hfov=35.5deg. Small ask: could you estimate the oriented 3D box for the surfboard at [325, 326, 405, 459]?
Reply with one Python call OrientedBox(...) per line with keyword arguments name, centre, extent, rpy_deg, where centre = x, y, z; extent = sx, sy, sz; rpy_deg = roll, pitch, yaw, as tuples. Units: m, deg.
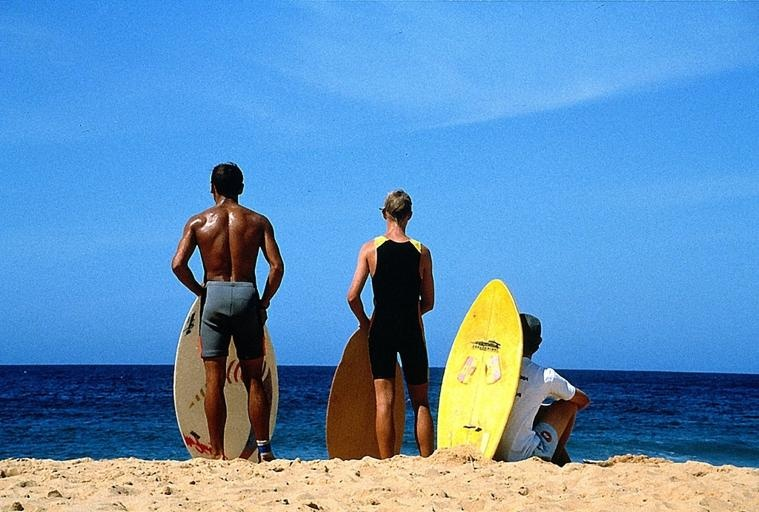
OrientedBox(name="surfboard", centre=(-0.548, 5.612, 43.879), extent=(2.418, 6.736, 2.672), rpy_deg=(-5, -15, 10))
